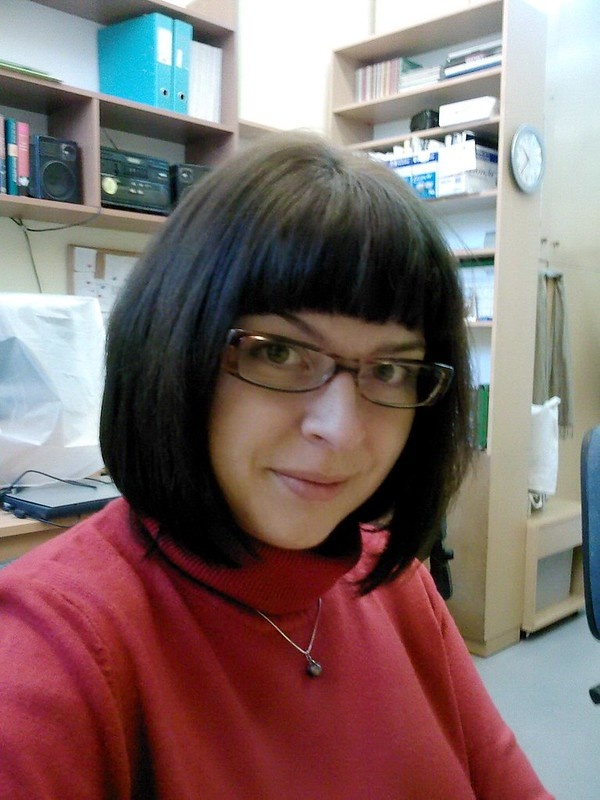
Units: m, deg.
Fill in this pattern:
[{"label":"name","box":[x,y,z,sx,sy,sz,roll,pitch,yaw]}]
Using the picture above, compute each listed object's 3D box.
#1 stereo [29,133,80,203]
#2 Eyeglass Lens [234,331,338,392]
[{"label":"stereo","box":[-0.871,-0.803,2.309,0.100,0.206,0.189,11,16,31]},{"label":"Eyeglass Lens","box":[-0.014,-0.039,0.535,0.061,0.025,0.057,15,3,-15]}]
